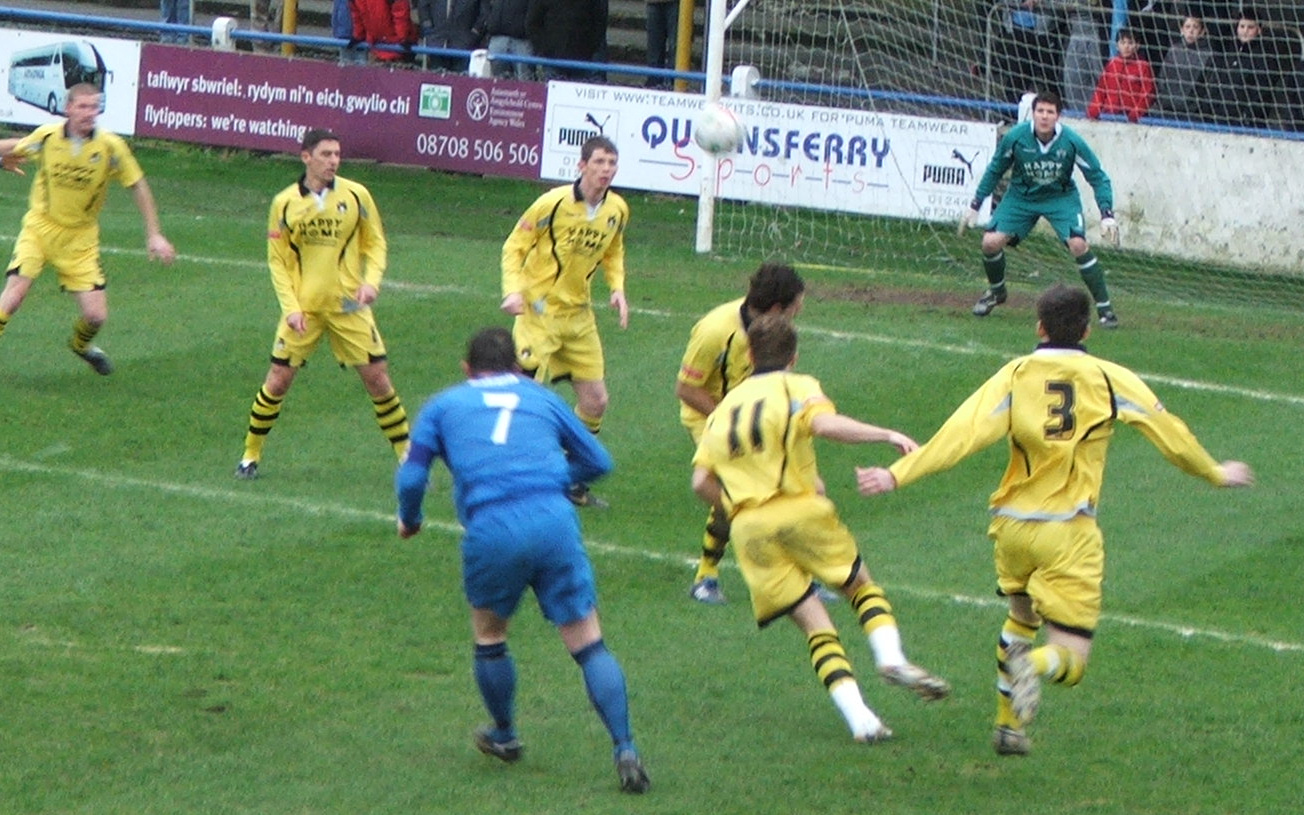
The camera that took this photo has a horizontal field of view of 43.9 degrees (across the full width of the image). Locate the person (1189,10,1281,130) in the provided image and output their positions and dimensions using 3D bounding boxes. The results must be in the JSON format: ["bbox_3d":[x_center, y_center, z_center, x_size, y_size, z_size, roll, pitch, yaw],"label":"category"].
[{"bbox_3d":[7.150,-4.034,19.604,0.912,1.254,0.383,7,16,16],"label":"person"}]

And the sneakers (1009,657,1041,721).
[{"bbox_3d":[2.501,1.890,10.881,0.223,0.439,0.218,6,16,12],"label":"sneakers"}]

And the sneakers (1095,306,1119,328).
[{"bbox_3d":[4.993,-0.980,17.743,0.263,0.256,0.172,-12,7,0],"label":"sneakers"}]

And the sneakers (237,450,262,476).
[{"bbox_3d":[-3.553,0.517,14.261,0.132,0.198,0.205,16,49,0],"label":"sneakers"}]

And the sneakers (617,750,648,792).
[{"bbox_3d":[-0.128,2.458,10.982,0.152,0.192,0.290,-3,21,-2],"label":"sneakers"}]

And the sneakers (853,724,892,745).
[{"bbox_3d":[1.480,2.166,10.816,0.217,0.128,0.087,-1,50,-22],"label":"sneakers"}]

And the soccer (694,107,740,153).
[{"bbox_3d":[0.755,-3.125,18.562,0.523,0.472,0.449,4,15,3],"label":"soccer"}]

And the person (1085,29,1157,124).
[{"bbox_3d":[5.926,-4.162,20.342,0.733,1.052,0.637,17,31,41],"label":"person"}]

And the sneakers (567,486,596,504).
[{"bbox_3d":[-0.591,0.733,14.029,0.176,0.084,0.283,1,16,-11],"label":"sneakers"}]

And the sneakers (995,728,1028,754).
[{"bbox_3d":[2.494,2.320,11.187,0.176,0.200,0.221,2,22,10],"label":"sneakers"}]
